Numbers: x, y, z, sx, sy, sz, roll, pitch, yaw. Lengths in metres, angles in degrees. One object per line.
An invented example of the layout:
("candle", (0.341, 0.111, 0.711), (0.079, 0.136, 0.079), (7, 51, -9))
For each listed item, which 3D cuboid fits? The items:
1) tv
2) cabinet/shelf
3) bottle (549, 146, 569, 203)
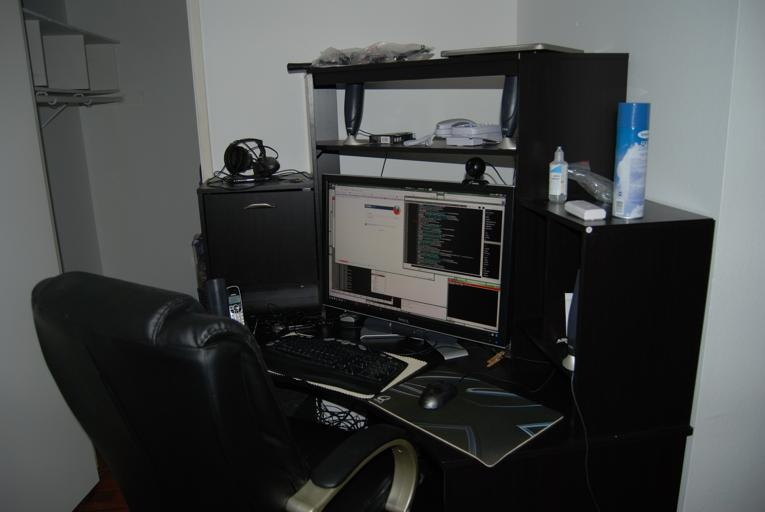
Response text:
("tv", (0.151, 0.061, 2.296), (0.717, 0.505, 0.101), (10, 15, 29))
("cabinet/shelf", (0.373, -0.634, 2.427), (1.177, 0.397, 0.604), (7, 18, 25))
("bottle", (0.613, -0.284, 2.060), (0.060, 0.183, 0.082), (4, 18, 16))
